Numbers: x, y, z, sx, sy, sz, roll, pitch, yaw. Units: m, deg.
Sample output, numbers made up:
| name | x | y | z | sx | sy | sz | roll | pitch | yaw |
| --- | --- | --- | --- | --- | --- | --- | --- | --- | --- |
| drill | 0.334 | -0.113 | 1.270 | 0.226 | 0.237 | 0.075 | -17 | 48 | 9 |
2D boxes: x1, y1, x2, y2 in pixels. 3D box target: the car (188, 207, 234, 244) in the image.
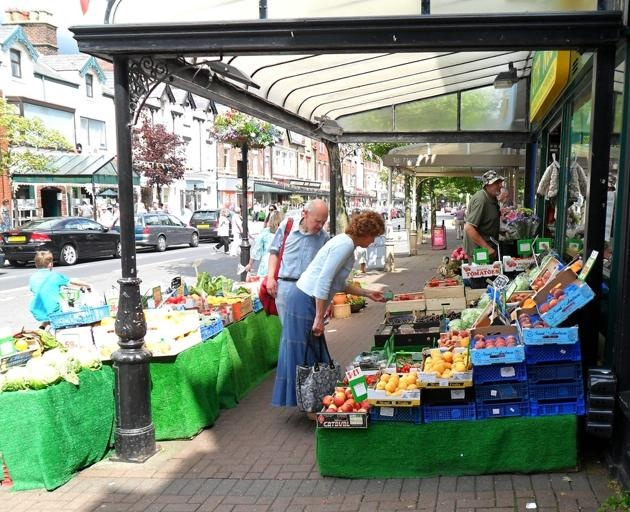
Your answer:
| name | x | y | z | sx | sy | sz | roll | pitch | yaw |
| --- | --- | --- | --- | --- | --- | --- | --- | --- | --- |
| car | -5.987 | -1.483 | 29.895 | 1.791 | 1.946 | 3.775 | -2 | -2 | -2 |

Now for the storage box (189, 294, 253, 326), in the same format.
| name | x | y | z | sx | sy | sz | roll | pitch | yaw |
| --- | --- | --- | --- | --- | --- | --- | --- | --- | --- |
| storage box | -1.153 | 0.599 | 6.306 | 0.533 | 0.337 | 0.556 | 2 | 8 | 15 |

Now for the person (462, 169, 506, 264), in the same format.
| name | x | y | z | sx | sy | sz | roll | pitch | yaw |
| --- | --- | --- | --- | --- | --- | --- | --- | --- | --- |
| person | 2.425 | -0.584 | 7.537 | 0.510 | 1.419 | 0.521 | 4 | 6 | 25 |

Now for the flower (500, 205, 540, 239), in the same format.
| name | x | y | z | sx | sy | sz | roll | pitch | yaw |
| --- | --- | --- | --- | --- | --- | --- | --- | --- | --- |
| flower | 3.240 | -0.515 | 8.437 | 0.539 | 0.615 | 0.547 | 1 | 1 | -30 |

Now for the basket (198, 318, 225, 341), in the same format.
| name | x | y | z | sx | sy | sz | roll | pitch | yaw |
| --- | --- | --- | --- | --- | --- | --- | --- | --- | --- |
| basket | -1.109 | 0.780 | 5.552 | 0.122 | 0.172 | 0.534 | -1 | 6 | 13 |

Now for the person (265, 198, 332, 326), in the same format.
| name | x | y | z | sx | sy | sz | roll | pitch | yaw |
| --- | --- | --- | --- | --- | --- | --- | --- | --- | --- |
| person | -0.199 | 0.303 | 5.690 | 0.659 | 1.915 | 0.514 | 7 | 20 | -5 |

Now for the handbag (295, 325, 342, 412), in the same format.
| name | x | y | z | sx | sy | sz | roll | pitch | yaw |
| --- | --- | --- | --- | --- | --- | --- | --- | --- | --- |
| handbag | 0.047 | 1.110 | 5.007 | 0.497 | 0.746 | 0.188 | 5 | -13 | -40 |

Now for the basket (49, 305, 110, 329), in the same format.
| name | x | y | z | sx | sy | sz | roll | pitch | yaw |
| --- | --- | --- | --- | --- | --- | --- | --- | --- | --- |
| basket | -2.533 | 0.670 | 5.698 | 0.591 | 0.205 | 0.188 | -6 | 7 | -32 |

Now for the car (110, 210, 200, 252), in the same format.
| name | x | y | z | sx | sy | sz | roll | pitch | yaw |
| --- | --- | --- | --- | --- | --- | --- | --- | --- | --- |
| car | -7.655 | -1.178 | 25.873 | 1.930 | 1.893 | 5.599 | -2 | 4 | 13 |

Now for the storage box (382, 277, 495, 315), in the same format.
| name | x | y | z | sx | sy | sz | roll | pitch | yaw |
| --- | --- | --- | --- | --- | --- | --- | --- | --- | --- |
| storage box | 1.774 | 0.586 | 7.559 | 1.187 | 0.799 | 0.968 | 1 | 6 | 13 |

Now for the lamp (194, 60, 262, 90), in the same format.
| name | x | y | z | sx | sy | sz | roll | pitch | yaw |
| --- | --- | --- | --- | --- | --- | --- | --- | --- | --- |
| lamp | -0.903 | -1.932 | 5.553 | 0.388 | 0.208 | 0.698 | 2 | 7 | 32 |

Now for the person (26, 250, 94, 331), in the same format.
| name | x | y | z | sx | sy | sz | roll | pitch | yaw |
| --- | --- | --- | --- | --- | --- | --- | --- | --- | --- |
| person | -3.919 | 0.638 | 7.887 | 0.672 | 1.456 | 0.854 | 8 | 12 | -8 |

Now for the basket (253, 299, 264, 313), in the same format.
| name | x | y | z | sx | sy | sz | roll | pitch | yaw |
| --- | --- | --- | --- | --- | --- | --- | --- | --- | --- |
| basket | -0.726 | 0.635 | 6.846 | 0.128 | 0.261 | 0.145 | -3 | 4 | -1 |
